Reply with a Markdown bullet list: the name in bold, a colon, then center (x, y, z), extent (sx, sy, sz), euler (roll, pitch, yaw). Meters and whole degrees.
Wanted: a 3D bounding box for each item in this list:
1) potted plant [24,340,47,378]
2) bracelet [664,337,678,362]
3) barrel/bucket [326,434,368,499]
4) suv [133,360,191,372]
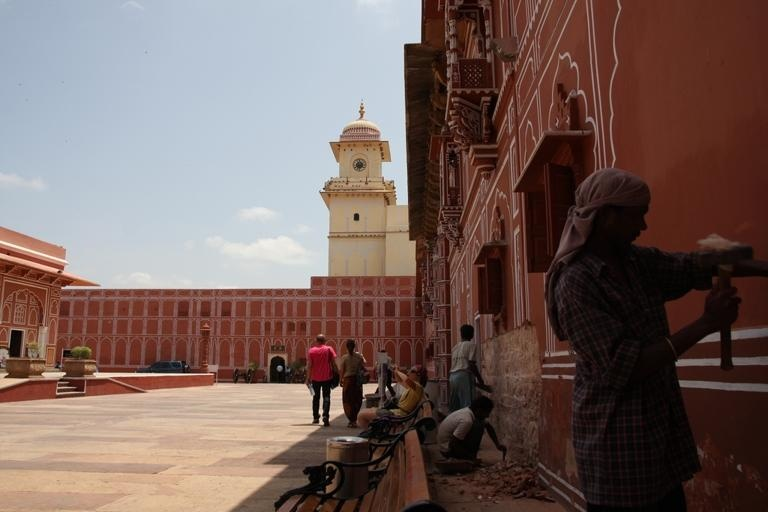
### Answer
- **potted plant**: center (-11.988, 3.506, 20.657), extent (0.764, 1.099, 0.842), euler (-16, -11, 36)
- **bracelet**: center (1.407, 0.452, 2.968), extent (0.053, 0.115, 0.052), euler (-1, -12, 2)
- **barrel/bucket**: center (-0.264, 1.635, 4.707), extent (0.408, 0.594, 0.370), euler (1, -15, -7)
- **suv**: center (-16.016, 8.176, 44.876), extent (3.234, 0.829, 2.153), euler (-5, -13, 18)
